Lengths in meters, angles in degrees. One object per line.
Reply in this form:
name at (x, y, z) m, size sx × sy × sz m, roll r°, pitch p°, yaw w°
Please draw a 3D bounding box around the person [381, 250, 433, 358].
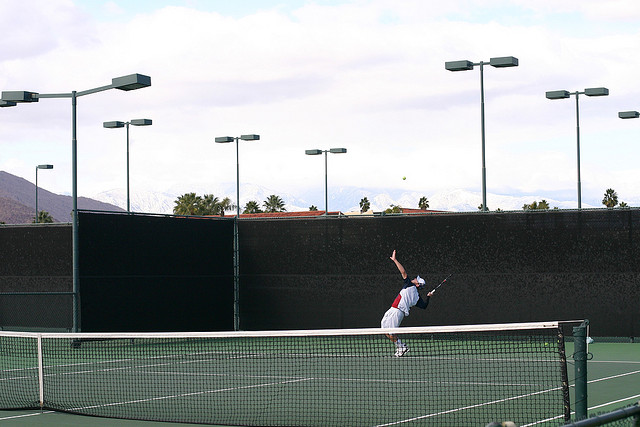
person at (2.384, 2.394, 27.681) m, size 1.544 × 2.345 × 0.833 m, roll 16°, pitch -42°, yaw 9°
